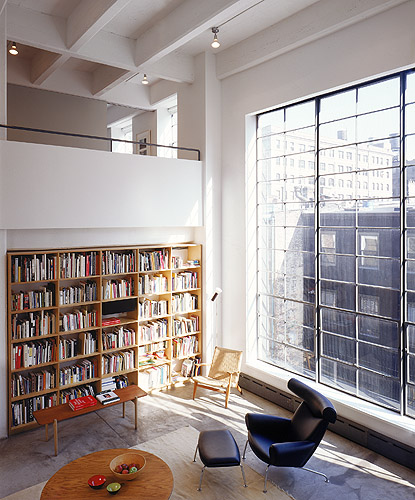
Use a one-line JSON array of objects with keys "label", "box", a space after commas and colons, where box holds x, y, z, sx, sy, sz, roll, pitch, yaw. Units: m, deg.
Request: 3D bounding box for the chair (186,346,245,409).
[{"label": "chair", "box": [0.157, 2.088, 7.085, 0.704, 0.912, 0.843, 1, 2, 28]}]

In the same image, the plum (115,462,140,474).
[{"label": "plum", "box": [-0.789, 2.191, 4.176, 0.111, 0.050, 0.113, 2, 0, 32]}]

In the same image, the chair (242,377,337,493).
[{"label": "chair", "box": [0.927, 2.146, 5.054, 0.911, 1.181, 1.013, 1, 4, -18]}]

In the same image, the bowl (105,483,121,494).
[{"label": "bowl", "box": [-0.878, 2.257, 3.954, 0.141, 0.053, 0.164, -1, 4, -13]}]

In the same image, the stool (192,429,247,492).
[{"label": "stool", "box": [0.135, 2.265, 4.583, 0.428, 0.284, 0.588, 1, 4, -7]}]
